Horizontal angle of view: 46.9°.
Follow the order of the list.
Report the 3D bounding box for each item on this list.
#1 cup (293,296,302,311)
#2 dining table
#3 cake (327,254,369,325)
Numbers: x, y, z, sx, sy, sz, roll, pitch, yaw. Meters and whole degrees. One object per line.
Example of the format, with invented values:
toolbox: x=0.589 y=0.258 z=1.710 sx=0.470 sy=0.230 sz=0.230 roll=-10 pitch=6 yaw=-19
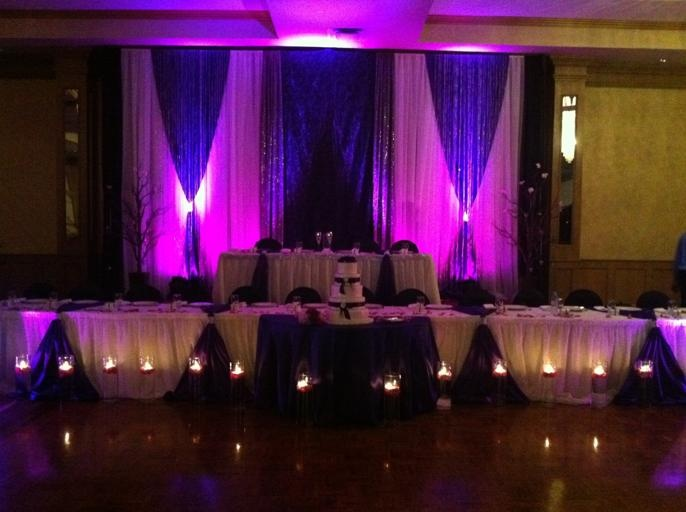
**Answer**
cup: x=-0.499 y=0.511 z=8.725 sx=0.121 sy=0.212 sz=0.126 roll=0 pitch=-5 yaw=0
dining table: x=-0.009 y=0.763 z=9.749 sx=7.565 sy=1.477 sz=2.641 roll=2 pitch=4 yaw=0
cake: x=0.075 y=0.325 z=8.211 sx=0.422 sy=0.672 sz=0.329 roll=2 pitch=4 yaw=3
